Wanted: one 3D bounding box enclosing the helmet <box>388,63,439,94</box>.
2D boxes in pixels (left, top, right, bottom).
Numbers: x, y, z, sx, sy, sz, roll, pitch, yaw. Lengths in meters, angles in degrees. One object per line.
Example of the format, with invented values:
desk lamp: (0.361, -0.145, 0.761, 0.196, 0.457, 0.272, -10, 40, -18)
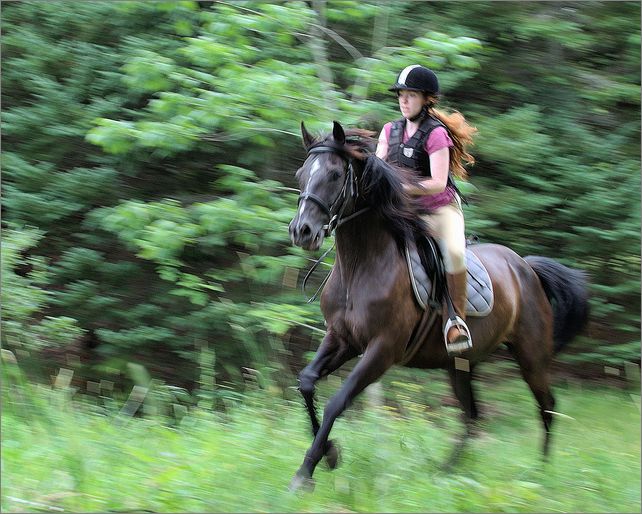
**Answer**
helmet: (0.869, -1.547, 5.899, 0.438, 0.146, 0.274, 2, 2, -28)
